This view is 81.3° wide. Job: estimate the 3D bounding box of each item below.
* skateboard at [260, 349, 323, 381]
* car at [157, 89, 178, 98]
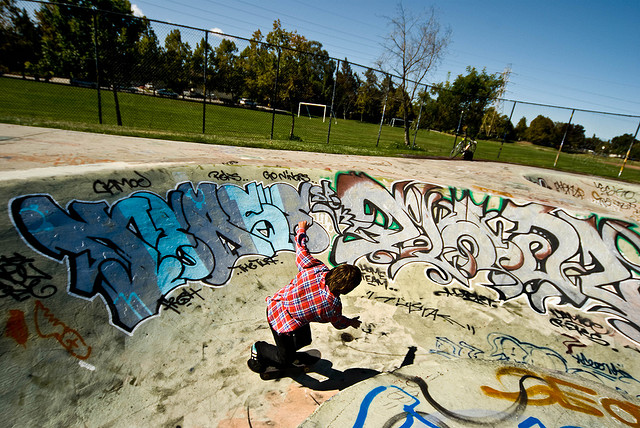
[{"bbox_3d":[-0.526,2.869,7.041,1.533,0.277,0.416,-9,49,-9],"label":"skateboard"},{"bbox_3d":[-15.634,-12.686,38.541,1.485,0.864,3.830,-3,24,-34],"label":"car"}]
